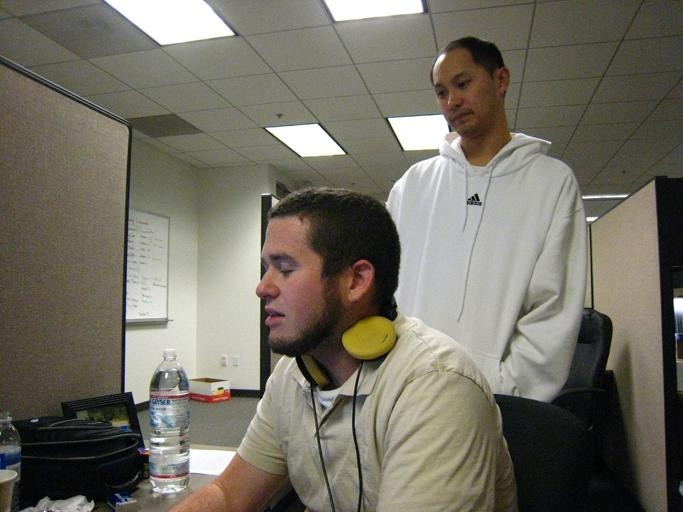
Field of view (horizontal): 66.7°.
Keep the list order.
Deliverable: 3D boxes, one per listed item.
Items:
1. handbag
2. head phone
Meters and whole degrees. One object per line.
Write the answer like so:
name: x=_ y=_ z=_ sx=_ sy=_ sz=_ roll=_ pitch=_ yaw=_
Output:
handbag: x=-0.738 y=0.528 z=1.458 sx=0.244 sy=0.135 sz=0.219 roll=1 pitch=-6 yaw=8
head phone: x=0.013 y=0.184 z=1.317 sx=0.286 sy=0.304 sz=0.116 roll=-8 pitch=-10 yaw=8
